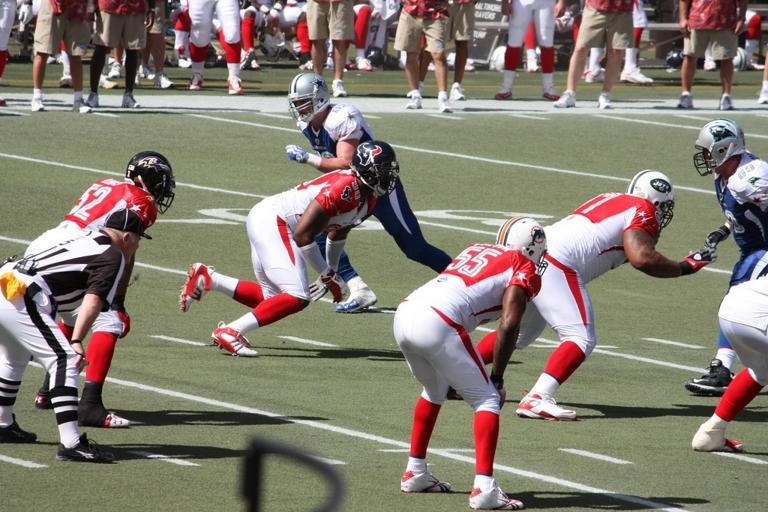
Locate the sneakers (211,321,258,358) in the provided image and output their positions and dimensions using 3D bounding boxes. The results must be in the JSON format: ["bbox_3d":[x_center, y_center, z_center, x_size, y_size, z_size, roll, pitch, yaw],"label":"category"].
[{"bbox_3d":[-1.130,0.631,8.467,0.358,0.146,0.187,23,22,-16],"label":"sneakers"}]

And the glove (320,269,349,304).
[{"bbox_3d":[-0.382,0.232,9.102,0.329,0.127,0.144,41,20,-31],"label":"glove"}]

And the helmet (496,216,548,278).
[{"bbox_3d":[0.844,-0.089,6.971,0.343,0.291,0.249,14,5,-30],"label":"helmet"}]

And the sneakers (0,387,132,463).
[{"bbox_3d":[-1.880,1.055,6.639,0.692,0.175,0.180,7,7,24],"label":"sneakers"}]

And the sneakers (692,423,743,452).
[{"bbox_3d":[2.093,1.124,7.226,0.406,0.167,0.124,-2,12,-15],"label":"sneakers"}]

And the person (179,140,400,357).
[{"bbox_3d":[-0.718,-0.096,8.717,1.431,1.627,0.679,3,7,-15],"label":"person"}]

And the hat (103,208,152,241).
[{"bbox_3d":[-1.499,-0.190,6.927,0.271,0.127,0.164,8,7,-38],"label":"hat"}]

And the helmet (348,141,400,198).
[{"bbox_3d":[-0.076,-0.658,8.579,0.340,0.392,0.262,5,7,-3],"label":"helmet"}]

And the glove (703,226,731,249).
[{"bbox_3d":[2.765,-0.151,9.635,0.112,0.102,0.389,36,37,27],"label":"glove"}]

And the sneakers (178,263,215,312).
[{"bbox_3d":[-1.413,0.228,8.879,0.238,0.411,0.171,26,4,2],"label":"sneakers"}]

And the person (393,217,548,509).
[{"bbox_3d":[0.494,0.570,6.568,0.814,1.500,0.832,8,8,21],"label":"person"}]

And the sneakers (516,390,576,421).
[{"bbox_3d":[1.076,1.003,7.676,0.415,0.159,0.159,3,-3,5],"label":"sneakers"}]

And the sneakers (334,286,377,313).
[{"bbox_3d":[-0.211,0.372,9.621,0.407,0.193,0.157,-9,17,19],"label":"sneakers"}]

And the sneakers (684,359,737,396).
[{"bbox_3d":[2.301,0.878,8.119,0.452,0.186,0.157,0,5,-9],"label":"sneakers"}]

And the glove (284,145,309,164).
[{"bbox_3d":[-0.734,-0.848,9.367,0.152,0.080,0.202,26,3,-41],"label":"glove"}]

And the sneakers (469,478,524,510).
[{"bbox_3d":[0.576,1.292,6.289,0.373,0.162,0.121,-1,2,-11],"label":"sneakers"}]

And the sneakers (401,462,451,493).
[{"bbox_3d":[0.274,1.260,6.492,0.332,0.127,0.103,1,4,-15],"label":"sneakers"}]
